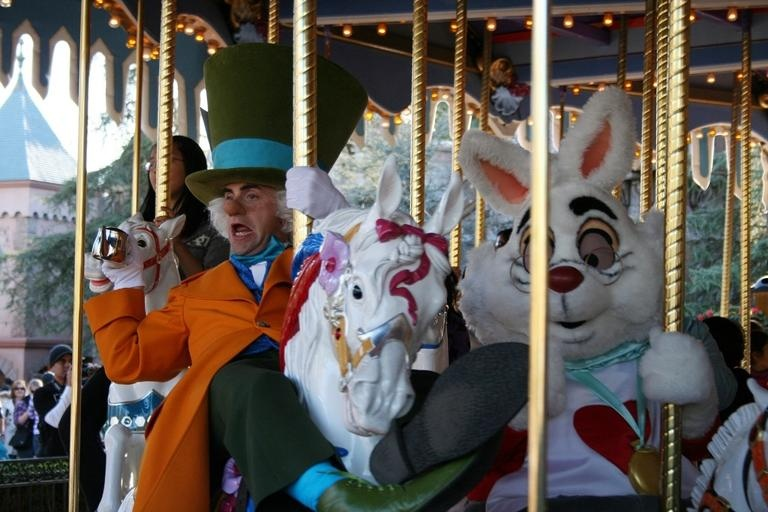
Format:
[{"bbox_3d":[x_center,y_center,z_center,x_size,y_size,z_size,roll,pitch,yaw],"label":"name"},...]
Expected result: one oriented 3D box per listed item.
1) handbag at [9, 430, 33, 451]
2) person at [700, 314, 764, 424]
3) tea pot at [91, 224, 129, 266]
[{"bbox_3d":[-4.381,2.227,14.020,0.254,0.250,0.117,-7,-10,27],"label":"handbag"},{"bbox_3d":[3.224,0.938,10.673,0.656,0.847,0.867,-3,-8,8],"label":"person"},{"bbox_3d":[-2.242,-0.076,9.473,0.278,0.275,0.249,12,-3,-26],"label":"tea pot"}]
